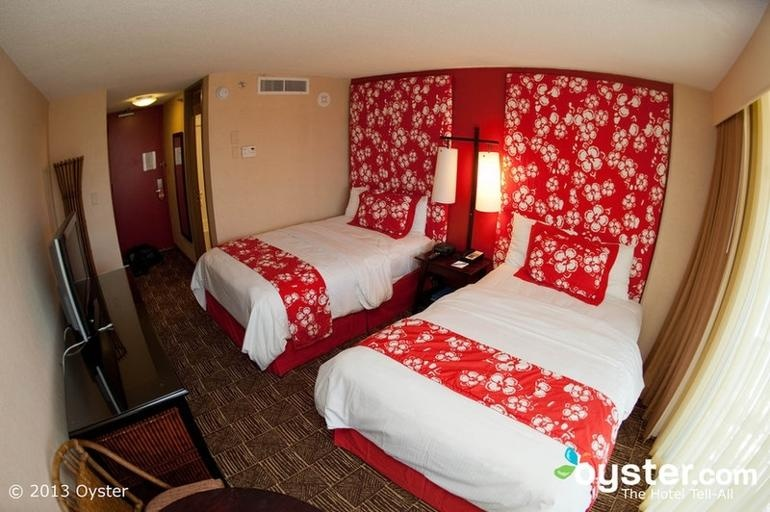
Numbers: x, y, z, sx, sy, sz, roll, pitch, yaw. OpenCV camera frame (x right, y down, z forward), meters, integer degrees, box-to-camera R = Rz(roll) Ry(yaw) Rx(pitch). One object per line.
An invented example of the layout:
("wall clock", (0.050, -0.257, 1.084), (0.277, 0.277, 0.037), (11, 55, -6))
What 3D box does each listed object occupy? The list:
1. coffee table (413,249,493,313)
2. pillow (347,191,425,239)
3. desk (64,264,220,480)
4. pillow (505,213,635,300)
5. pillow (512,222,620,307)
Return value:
("coffee table", (0.823, 0.333, 5.541), (0.695, 0.962, 0.783), (12, 21, 36))
("pillow", (0.029, -0.501, 5.747), (0.787, 0.594, 0.215), (13, -5, 41))
("desk", (-1.884, 0.944, 3.992), (0.550, 0.990, 1.830), (-18, 36, -18))
("pillow", (1.790, 0.022, 4.553), (0.701, 0.397, 0.198), (21, -8, 24))
("pillow", (1.718, 0.079, 4.505), (0.891, 0.670, 0.247), (25, 1, 41))
